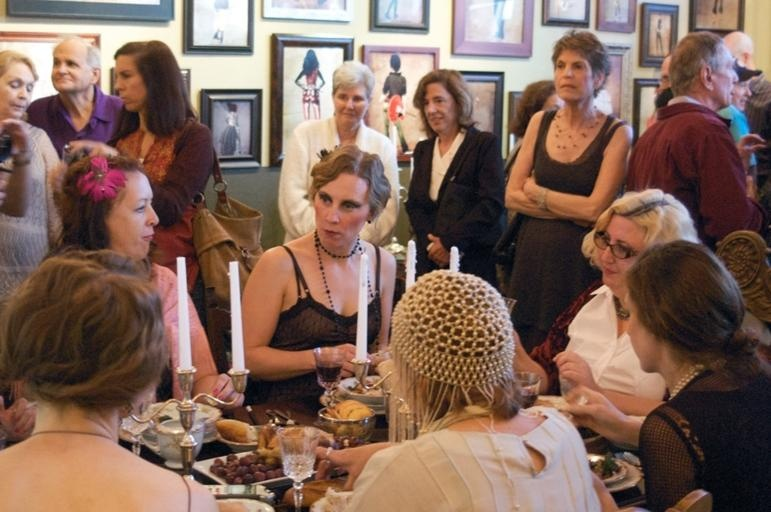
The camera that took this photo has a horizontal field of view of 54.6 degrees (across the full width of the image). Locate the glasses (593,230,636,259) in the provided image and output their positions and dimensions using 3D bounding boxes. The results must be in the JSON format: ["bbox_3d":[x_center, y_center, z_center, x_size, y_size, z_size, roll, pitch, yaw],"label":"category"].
[{"bbox_3d":[0.982,-0.037,3.235,0.124,0.039,0.118,15,12,-40],"label":"glasses"}]

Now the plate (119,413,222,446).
[{"bbox_3d":[-0.784,0.616,2.700,0.186,0.032,0.184,0,3,-35],"label":"plate"}]

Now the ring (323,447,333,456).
[{"bbox_3d":[-0.186,0.647,2.473,0.030,0.038,0.014,0,-4,6],"label":"ring"}]

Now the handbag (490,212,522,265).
[{"bbox_3d":[0.741,-0.104,4.606,0.086,0.334,0.131,13,40,-7],"label":"handbag"}]

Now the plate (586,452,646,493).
[{"bbox_3d":[0.772,0.732,2.517,0.159,0.023,0.166,1,13,2],"label":"plate"}]

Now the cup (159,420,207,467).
[{"bbox_3d":[-0.722,0.632,2.604,0.142,0.125,0.158,0,-3,36],"label":"cup"}]

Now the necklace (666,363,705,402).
[{"bbox_3d":[0.989,0.430,2.445,0.039,0.127,0.110,41,16,-13],"label":"necklace"}]

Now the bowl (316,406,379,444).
[{"bbox_3d":[-0.118,0.630,2.739,0.160,0.117,0.164,-1,5,0],"label":"bowl"}]

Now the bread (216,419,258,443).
[{"bbox_3d":[-0.547,0.633,2.727,0.107,0.064,0.084,16,1,12],"label":"bread"}]
